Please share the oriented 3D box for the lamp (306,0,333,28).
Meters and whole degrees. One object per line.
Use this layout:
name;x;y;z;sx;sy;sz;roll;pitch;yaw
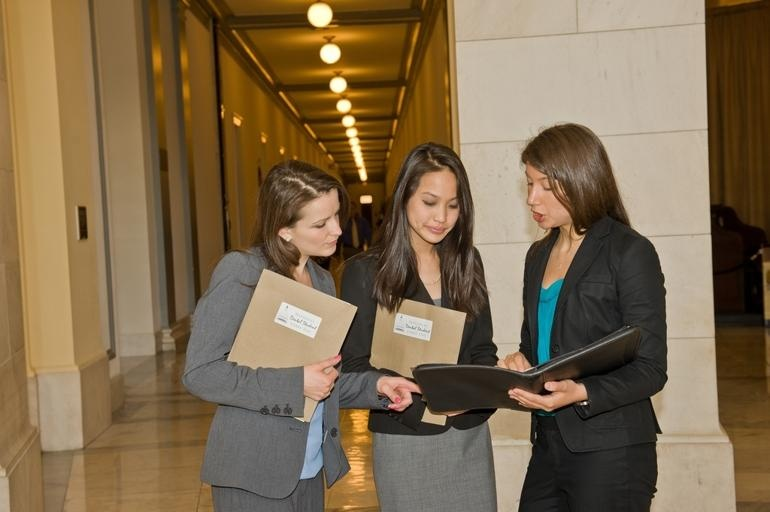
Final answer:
lamp;-0.995;-3.616;10.100;0.349;0.351;0.723;-9;10;-4
